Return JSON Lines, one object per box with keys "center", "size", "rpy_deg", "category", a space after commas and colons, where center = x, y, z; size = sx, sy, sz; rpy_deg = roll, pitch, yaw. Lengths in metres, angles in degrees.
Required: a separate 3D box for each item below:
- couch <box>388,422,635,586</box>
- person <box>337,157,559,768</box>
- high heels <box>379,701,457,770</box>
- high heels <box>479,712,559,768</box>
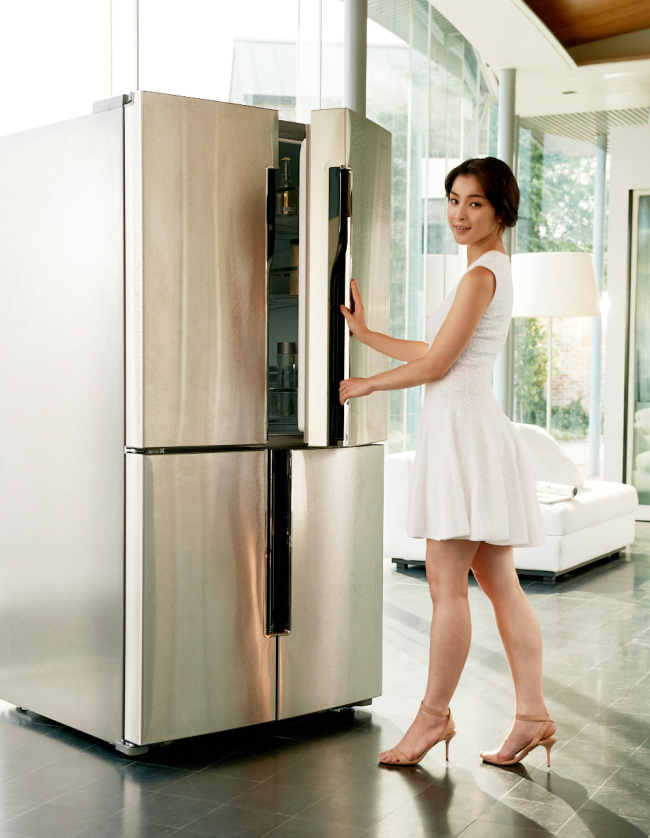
{"center": [1.241, 0.504, 5.334], "size": [1.006, 0.734, 1.372], "rpy_deg": [-9, 6, -24], "category": "couch"}
{"center": [0.294, 0.110, 1.961], "size": [0.500, 1.476, 0.335], "rpy_deg": [-1, -4, 15], "category": "person"}
{"center": [0.225, 0.774, 1.959], "size": [0.228, 0.168, 0.105], "rpy_deg": [3, -5, -18], "category": "high heels"}
{"center": [0.498, 0.780, 1.964], "size": [0.219, 0.147, 0.090], "rpy_deg": [-2, -5, 23], "category": "high heels"}
